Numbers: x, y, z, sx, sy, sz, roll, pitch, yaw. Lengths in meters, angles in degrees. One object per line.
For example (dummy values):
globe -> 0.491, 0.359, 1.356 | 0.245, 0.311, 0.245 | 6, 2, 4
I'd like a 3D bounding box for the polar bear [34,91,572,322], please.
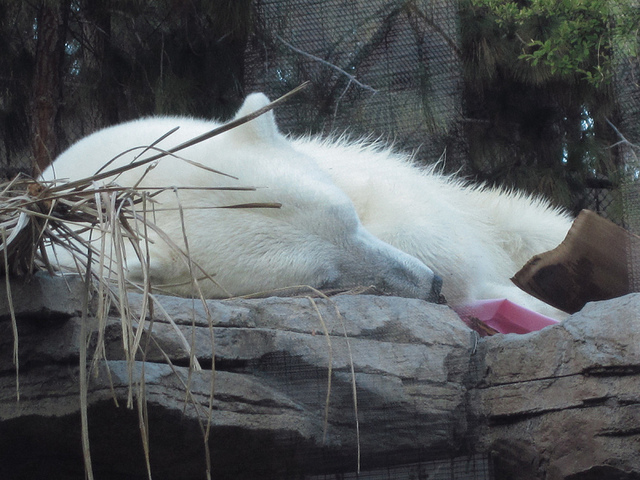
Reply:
polar bear -> -0.208, -0.087, 3.701 | 1.461, 0.604, 0.484 | 2, 15, 43
